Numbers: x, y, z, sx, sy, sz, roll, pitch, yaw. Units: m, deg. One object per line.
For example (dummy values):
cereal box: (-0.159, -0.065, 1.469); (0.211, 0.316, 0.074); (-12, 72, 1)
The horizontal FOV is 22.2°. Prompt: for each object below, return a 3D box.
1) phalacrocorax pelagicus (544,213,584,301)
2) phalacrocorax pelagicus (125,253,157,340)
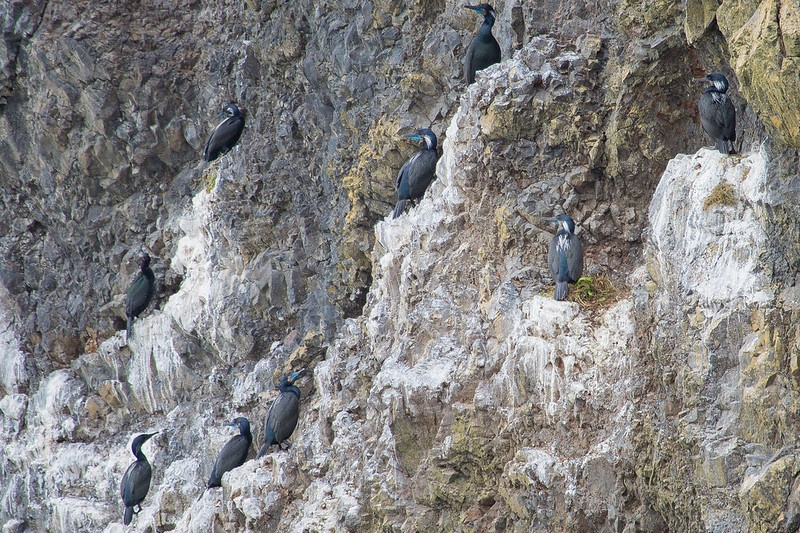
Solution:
phalacrocorax pelagicus: (2.977, -0.156, 36.424); (0.492, 1.590, 0.810); (-4, -23, 31)
phalacrocorax pelagicus: (-5.362, 0.661, 42.583); (0.814, 1.529, 0.438); (19, -1, -41)
